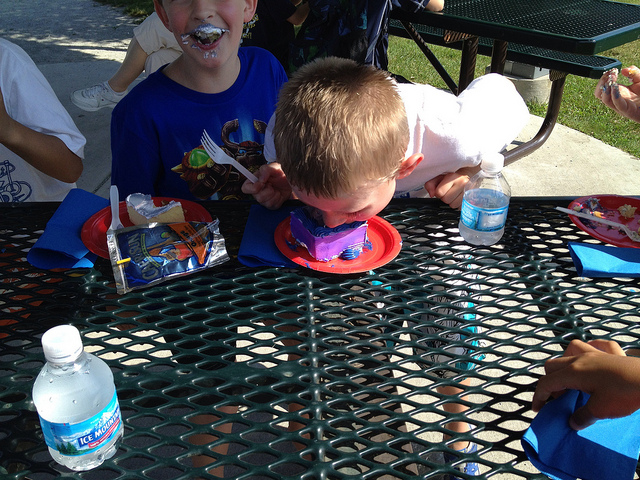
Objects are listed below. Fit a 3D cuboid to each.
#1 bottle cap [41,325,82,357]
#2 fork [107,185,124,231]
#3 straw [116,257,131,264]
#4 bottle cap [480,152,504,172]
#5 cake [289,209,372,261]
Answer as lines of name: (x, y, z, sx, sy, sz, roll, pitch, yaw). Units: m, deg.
bottle cap: (-0.478, 0.188, 0.980, 0.069, 0.031, 0.061, 6, 19, 9)
fork: (-0.574, -0.089, 1.459, 0.048, 0.115, 0.023, -9, 6, -36)
straw: (-0.508, 0.053, 1.354, 0.036, 0.007, 0.012, -15, 40, -27)
bottle cap: (0.483, -0.227, 1.466, 0.067, 0.032, 0.058, 1, 25, 0)
cake: (0.069, -0.019, 1.522, 0.180, 0.124, 0.230, -11, 22, -33)
